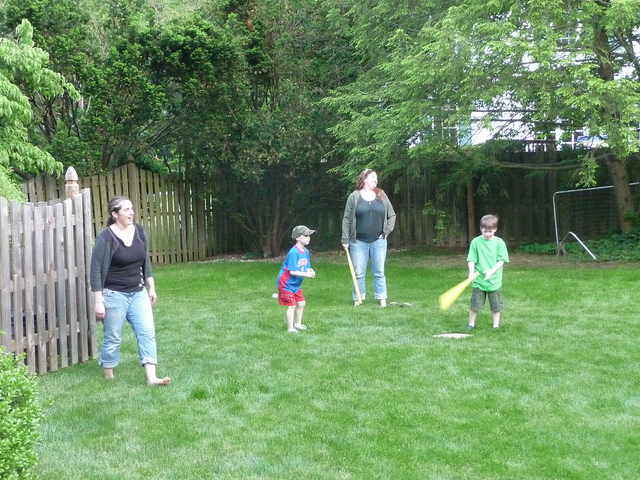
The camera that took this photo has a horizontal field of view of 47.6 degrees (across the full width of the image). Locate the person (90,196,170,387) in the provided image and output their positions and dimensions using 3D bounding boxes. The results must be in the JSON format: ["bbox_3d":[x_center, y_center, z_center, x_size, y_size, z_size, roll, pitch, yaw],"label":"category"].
[{"bbox_3d":[-2.204,0.555,8.088,0.683,2.035,0.702,-4,10,-15],"label":"person"}]

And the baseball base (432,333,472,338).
[{"bbox_3d":[1.660,1.232,9.225,0.455,0.026,0.157,-1,11,3],"label":"baseball base"}]

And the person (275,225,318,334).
[{"bbox_3d":[-0.341,0.542,9.950,0.513,1.431,1.051,-1,10,-2],"label":"person"}]

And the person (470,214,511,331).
[{"bbox_3d":[2.238,0.420,9.630,0.475,1.513,0.555,1,10,14],"label":"person"}]

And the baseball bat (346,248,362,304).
[{"bbox_3d":[0.545,0.592,11.548,0.086,0.881,0.090,-18,-14,5],"label":"baseball bat"}]

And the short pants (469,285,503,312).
[{"bbox_3d":[2.206,0.784,9.622,0.373,0.487,0.160,0,-1,9],"label":"short pants"}]

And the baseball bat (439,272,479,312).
[{"bbox_3d":[2.051,0.800,10.728,0.661,0.197,0.196,-44,-7,13],"label":"baseball bat"}]

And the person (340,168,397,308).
[{"bbox_3d":[0.745,-0.025,11.227,0.803,2.123,0.724,0,10,5],"label":"person"}]
